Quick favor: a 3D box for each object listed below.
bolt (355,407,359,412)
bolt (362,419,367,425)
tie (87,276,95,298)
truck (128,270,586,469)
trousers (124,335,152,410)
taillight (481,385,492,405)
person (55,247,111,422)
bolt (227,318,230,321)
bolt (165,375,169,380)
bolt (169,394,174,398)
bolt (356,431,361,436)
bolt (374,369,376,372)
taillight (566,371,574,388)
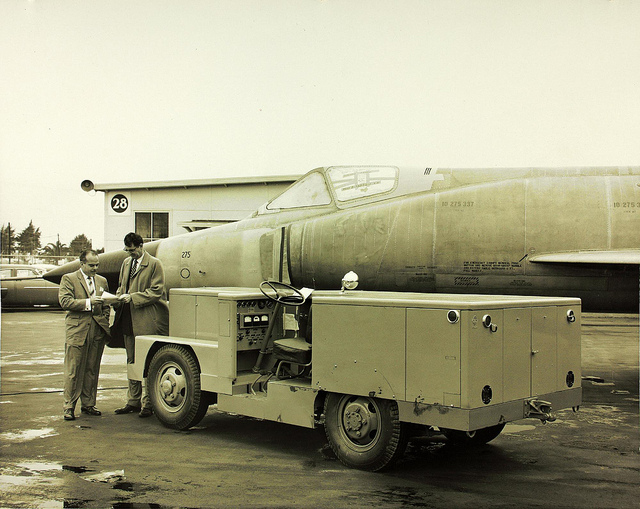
[{"bbox_3d":[0.413,1.702,8.878,0.059,0.047,0.016,3,3,40],"label":"bolt"},{"bbox_3d":[0.495,1.818,8.791,0.071,0.044,0.068,-4,-13,5],"label":"bolt"},{"bbox_3d":[-3.246,0.476,11.338,0.066,0.330,0.082,-6,-9,-14],"label":"tie"},{"bbox_3d":[0.291,1.259,9.688,4.834,2.031,1.428,3,3,33],"label":"truck"},{"bbox_3d":[-2.607,1.657,11.353,0.262,0.971,0.976,-1,3,-26],"label":"trousers"},{"bbox_3d":[1.728,1.435,8.268,0.167,0.193,0.018,-2,3,-43],"label":"taillight"},{"bbox_3d":[-3.322,1.090,11.161,0.629,2.276,0.953,2,3,23],"label":"person"},{"bbox_3d":[-1.150,0.816,10.088,0.027,0.030,0.029,4,3,28],"label":"bolt"},{"bbox_3d":[-2.019,1.605,10.554,0.083,0.064,0.008,3,3,38],"label":"bolt"},{"bbox_3d":[-1.932,1.833,10.439,0.038,0.074,0.038,2,7,8],"label":"bolt"},{"bbox_3d":[0.430,1.973,8.842,0.047,0.050,0.029,1,-7,29],"label":"bolt"},{"bbox_3d":[0.608,1.251,8.724,0.026,0.027,0.007,-3,-1,1],"label":"bolt"},{"bbox_3d":[2.874,1.415,9.165,0.032,0.150,0.149,11,34,2],"label":"taillight"}]
